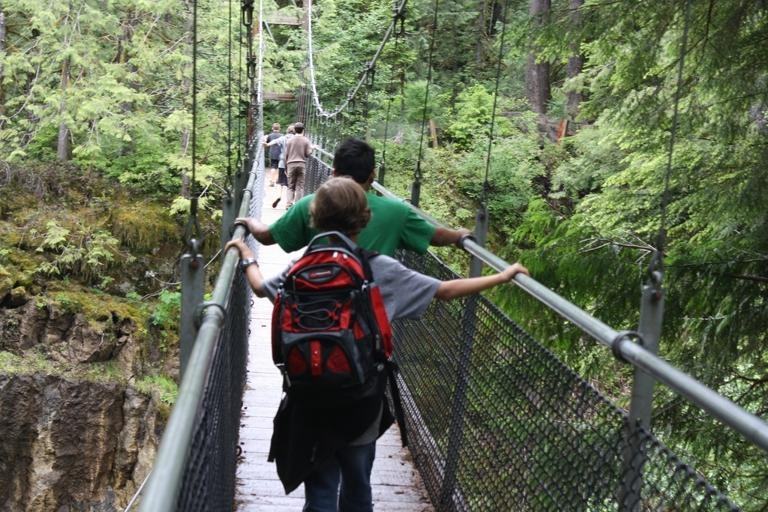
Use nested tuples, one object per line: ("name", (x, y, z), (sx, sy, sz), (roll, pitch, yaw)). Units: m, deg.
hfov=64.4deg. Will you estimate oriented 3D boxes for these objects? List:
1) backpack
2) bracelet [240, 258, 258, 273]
("backpack", (-0.241, 0.239, 2.512), (0.447, 0.658, 0.371), (-2, 5, 8))
("bracelet", (-0.626, 0.042, 2.833), (0.080, 0.063, 0.092), (0, -13, -12))
